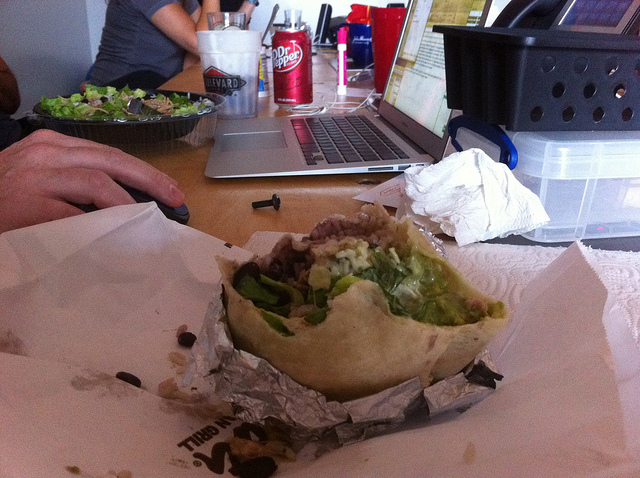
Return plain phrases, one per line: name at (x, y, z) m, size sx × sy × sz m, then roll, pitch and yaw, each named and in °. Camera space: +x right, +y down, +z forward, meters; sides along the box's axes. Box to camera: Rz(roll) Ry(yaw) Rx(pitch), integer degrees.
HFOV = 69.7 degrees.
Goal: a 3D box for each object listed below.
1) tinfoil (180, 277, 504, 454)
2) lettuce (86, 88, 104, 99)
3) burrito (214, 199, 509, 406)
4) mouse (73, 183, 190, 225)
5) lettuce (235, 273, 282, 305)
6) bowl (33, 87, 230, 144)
tinfoil at (0.026, 0.133, 0.599) m, size 0.276 × 0.214 × 0.334 m, roll -6°, pitch 13°, yaw -32°
lettuce at (-0.636, -0.405, 1.285) m, size 0.044 × 0.014 × 0.045 m, roll 9°, pitch 22°, yaw -41°
burrito at (0.045, 0.050, 0.603) m, size 0.262 × 0.255 × 0.300 m, roll -6°, pitch 15°, yaw -28°
mouse at (-0.318, -0.053, 0.777) m, size 0.150 × 0.037 × 0.077 m, roll -2°, pitch 29°, yaw -30°
lettuce at (-0.072, 0.061, 0.545) m, size 0.048 × 0.013 × 0.028 m, roll 30°, pitch 18°, yaw 0°
bowl at (-0.464, -0.307, 1.156) m, size 0.293 × 0.057 × 0.268 m, roll 2°, pitch 23°, yaw -1°
